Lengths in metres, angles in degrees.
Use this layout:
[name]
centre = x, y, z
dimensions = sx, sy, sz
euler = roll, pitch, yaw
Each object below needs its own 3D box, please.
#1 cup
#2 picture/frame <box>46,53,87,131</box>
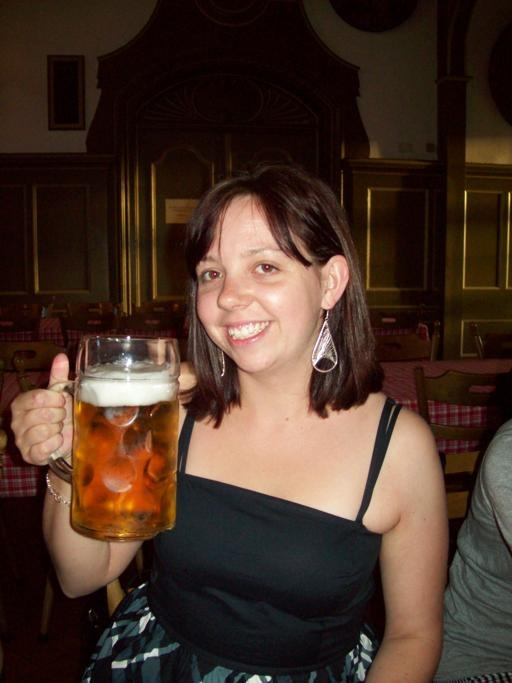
[cup]
centre = -0.181, 0.129, 0.779
dimensions = 0.146, 0.269, 0.099
euler = -1, 4, -9
[picture/frame]
centre = -2.398, -3.127, 7.099
dimensions = 0.468, 0.904, 0.077
euler = 0, 5, 1
